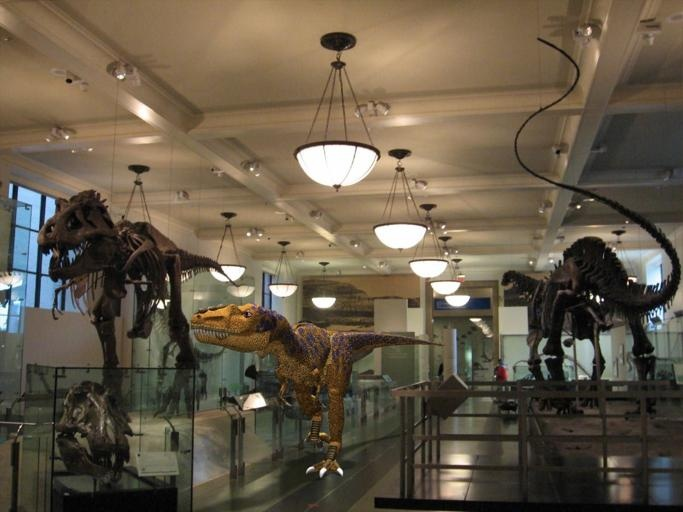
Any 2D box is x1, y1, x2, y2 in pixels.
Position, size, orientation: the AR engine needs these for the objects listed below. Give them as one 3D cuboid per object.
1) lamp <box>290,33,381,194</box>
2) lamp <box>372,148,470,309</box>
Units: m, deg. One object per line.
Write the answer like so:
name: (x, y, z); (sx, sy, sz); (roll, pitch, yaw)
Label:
lamp: (-0.070, -1.783, 6.957); (1.157, 1.990, 1.115); (-9, -17, 24)
lamp: (1.777, -0.554, 12.912); (0.953, 1.632, 3.389); (-6, -16, 19)
